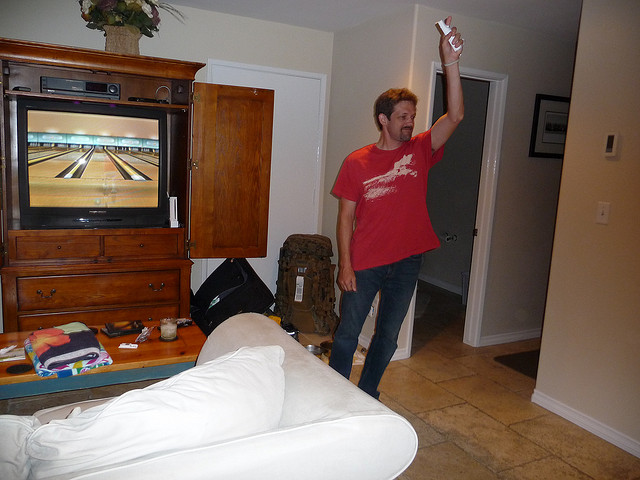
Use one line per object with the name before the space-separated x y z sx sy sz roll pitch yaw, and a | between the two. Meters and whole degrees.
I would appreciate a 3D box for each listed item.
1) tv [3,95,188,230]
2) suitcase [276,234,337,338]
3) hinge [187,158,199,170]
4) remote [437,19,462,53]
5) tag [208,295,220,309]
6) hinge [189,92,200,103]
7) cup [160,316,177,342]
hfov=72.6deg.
tv | -1.758 -0.603 3.471 1.318 0.952 0.570 -2 12 -23
suitcase | -0.113 0.430 4.222 0.664 0.927 0.509 5 10 15
hinge | -1.055 -0.635 3.594 0.102 0.032 0.101 3 -28 -20
remote | 0.659 -1.058 2.248 0.149 0.148 0.078 -5 13 -35
tag | -0.874 0.508 3.594 0.019 0.042 0.142 -36 7 41
hinge | -1.006 -1.156 3.514 0.092 0.097 0.025 -1 12 -28
cup | -0.892 0.537 2.634 0.118 0.138 0.121 2 2 0
